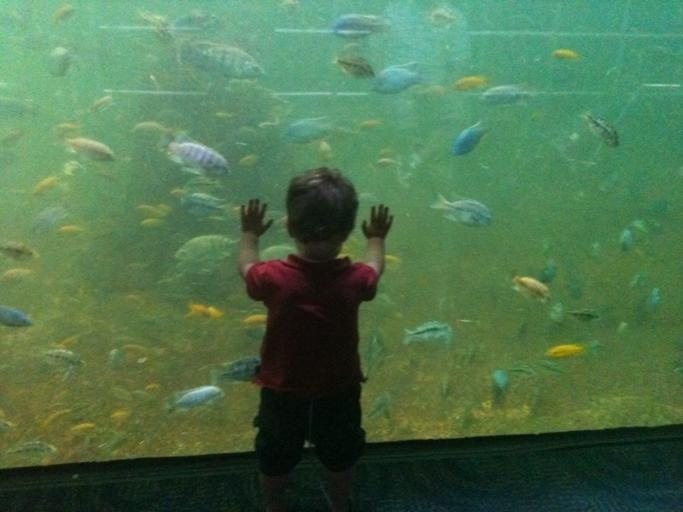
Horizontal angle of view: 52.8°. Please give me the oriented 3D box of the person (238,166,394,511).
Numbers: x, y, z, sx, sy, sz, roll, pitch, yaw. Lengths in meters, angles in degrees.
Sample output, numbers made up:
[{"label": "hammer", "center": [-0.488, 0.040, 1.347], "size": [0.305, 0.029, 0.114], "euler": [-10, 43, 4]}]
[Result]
[{"label": "person", "center": [-0.186, 0.702, 5.131], "size": [1.058, 2.655, 0.729], "euler": [-4, 20, -8]}]
